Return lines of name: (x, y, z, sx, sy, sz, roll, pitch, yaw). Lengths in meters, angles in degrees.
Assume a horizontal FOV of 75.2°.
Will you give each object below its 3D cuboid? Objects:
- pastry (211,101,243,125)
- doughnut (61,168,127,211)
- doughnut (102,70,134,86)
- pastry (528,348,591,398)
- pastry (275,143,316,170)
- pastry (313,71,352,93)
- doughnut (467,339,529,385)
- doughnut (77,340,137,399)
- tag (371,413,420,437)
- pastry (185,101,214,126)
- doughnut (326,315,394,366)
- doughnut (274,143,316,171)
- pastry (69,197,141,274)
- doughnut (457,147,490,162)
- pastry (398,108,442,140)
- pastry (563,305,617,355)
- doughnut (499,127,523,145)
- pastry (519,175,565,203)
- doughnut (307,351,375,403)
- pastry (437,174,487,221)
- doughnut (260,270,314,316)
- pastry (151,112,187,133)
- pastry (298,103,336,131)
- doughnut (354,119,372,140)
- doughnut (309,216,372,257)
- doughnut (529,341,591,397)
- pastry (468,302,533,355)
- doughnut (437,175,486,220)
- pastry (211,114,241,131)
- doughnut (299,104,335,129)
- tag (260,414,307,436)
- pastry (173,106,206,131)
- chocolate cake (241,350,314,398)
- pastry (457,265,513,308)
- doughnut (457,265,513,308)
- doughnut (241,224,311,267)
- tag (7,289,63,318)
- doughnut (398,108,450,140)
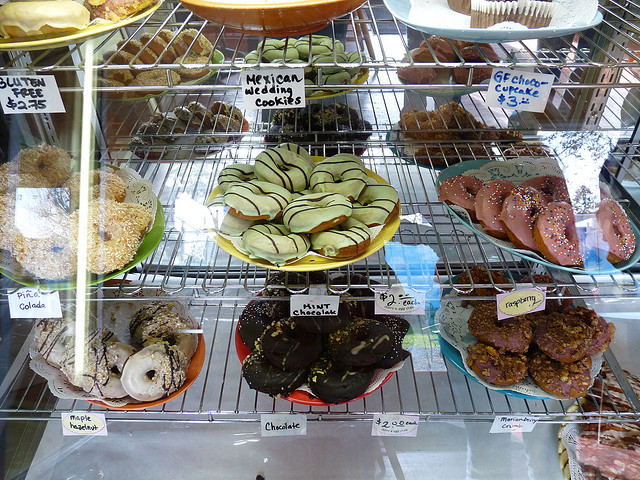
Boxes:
pastry: (-0.339, -0.452, 1.530, 0.109, 0.031, 0.077, 32, 40, 11)
doughnut: (-0.605, -0.138, 1.103, 0.129, 0.043, 0.124, 12, 30, -1)
doughnut: (-0.557, -0.456, 1.163, 0.077, 0.026, 0.078, 17, 15, 36)
pastry: (0.663, 0.374, 1.159, 0.155, 0.071, 0.100, 15, 34, 27)
pastry: (-0.074, -0.233, 1.181, 0.090, 0.027, 0.092, 14, 8, 42)
pastry: (0.021, -0.477, 1.247, 0.143, 0.049, 0.147, 19, 29, 36)
doughnut: (0.499, 0.348, 1.170, 0.126, 0.038, 0.114, 25, 43, 28)
doughnut: (-0.565, 0.351, 1.132, 0.169, 0.063, 0.146, 4, 47, -28)
tag: (0.219, 0.533, 1.206, 0.144, 0.077, 0.003, 1, 34, -3)
pastry: (-0.432, -0.455, 1.513, 0.119, 0.038, 0.073, 45, 56, 14)
doughnut: (0.115, 0.293, 1.218, 0.211, 0.071, 0.212, -14, 16, 11)
doughnut: (-0.069, -0.246, 1.192, 0.095, 0.027, 0.089, 5, 13, -20)
pastry: (-0.515, -0.015, 1.010, 0.158, 0.061, 0.176, 0, 51, -10)
doughnut: (0.524, -0.290, 1.422, 0.097, 0.029, 0.090, 2, 30, 6)
pastry: (0.381, -0.437, 1.533, 0.145, 0.052, 0.171, 21, 45, 22)
pastry: (0.791, 0.246, 1.215, 0.133, 0.051, 0.143, 4, 48, 10)
doughnut: (0.668, -0.364, 1.454, 0.064, 0.015, 0.058, -6, 49, -9)
pastry: (0.624, -0.147, 1.166, 0.099, 0.031, 0.094, 6, 40, 22)
doughnut: (0.057, 0.373, 1.178, 0.189, 0.062, 0.182, -5, 36, -2)
pastry: (0.396, -0.135, 1.150, 0.135, 0.045, 0.124, 4, 43, -2)
doughnut: (-0.110, 0.162, 1.268, 0.158, 0.054, 0.147, 10, 57, -8)
pastry: (-0.528, -0.411, 1.465, 0.114, 0.061, 0.033, 24, -2, -2)
pastry: (-0.009, -0.434, 1.470, 0.129, 0.043, 0.117, 4, 58, 7)
doughnut: (0.164, -0.393, 1.481, 0.084, 0.026, 0.075, 6, 65, -8)
doughnut: (0.065, -0.002, 1.015, 0.161, 0.055, 0.157, -6, 16, -6)
doughnut: (0.676, 0.346, 1.174, 0.057, 0.154, 0.175, 26, -18, -26)
pastry: (0.521, 0.256, 1.205, 0.155, 0.053, 0.153, 0, 36, -1)
doughnut: (0.417, -0.133, 1.186, 0.135, 0.046, 0.127, 32, -8, -12)
pastry: (-0.333, -0.410, 1.477, 0.066, 0.023, 0.081, 8, 6, -31)
doughnut: (-0.007, -0.417, 1.504, 0.126, 0.042, 0.115, 5, 54, 6)
tag: (-0.107, 0.539, 1.217, 0.121, 0.072, 0.003, 1, 37, -5)
pastry: (-0.478, -0.426, 1.519, 0.117, 0.037, 0.072, 40, 37, 8)
chocolate cake: (-0.109, 0.358, 1.146, 0.143, 0.045, 0.131, -6, 35, -32)
pastry: (0.519, 0.147, 1.374, 0.170, 0.185, 0.051, -19, 66, 25)
doughnut: (0.538, 0.167, 1.366, 0.188, 0.155, 0.058, 14, -8, -36)
doughnut: (-0.093, 0.007, 1.010, 0.178, 0.060, 0.170, -12, 24, -35)
tag: (-0.712, 0.156, 1.042, 0.106, 0.064, 0.004, 2, 34, -6)
doughnut: (0.371, -0.418, 1.505, 0.166, 0.074, 0.156, 0, 30, 2)
